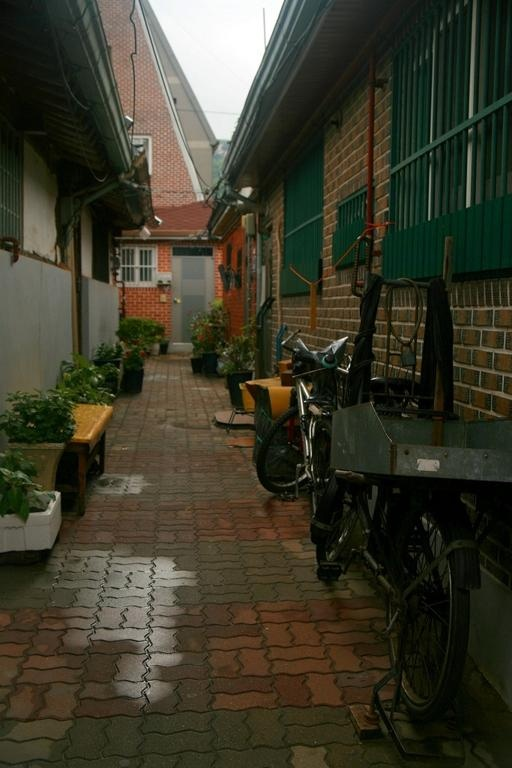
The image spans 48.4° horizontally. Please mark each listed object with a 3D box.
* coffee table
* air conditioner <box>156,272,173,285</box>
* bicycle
[{"bbox_3d":[-1.420,0.635,4.683,0.256,0.292,0.773,3,14,0],"label":"coffee table"},{"bbox_3d":[-3.382,-3.888,20.992,0.441,0.476,0.358,-2,2,-1],"label":"air conditioner"},{"bbox_3d":[0.287,0.501,2.421,0.445,1.106,1.999,5,7,-6],"label":"bicycle"}]
